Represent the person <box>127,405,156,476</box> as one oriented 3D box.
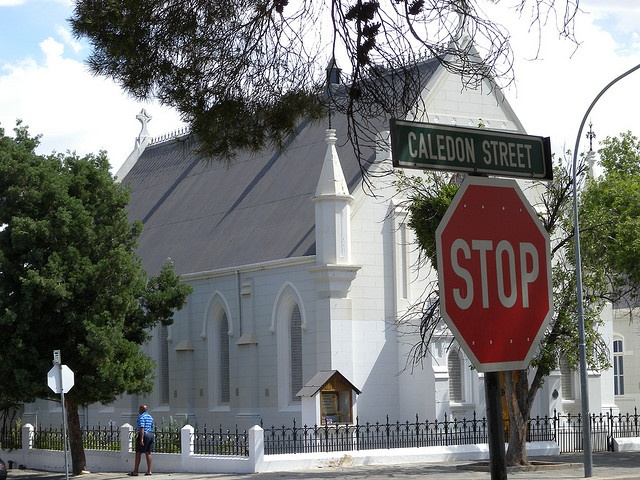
[{"bbox_3d":[-6.122,6.939,38.448,0.752,2.492,1.559,0,-14,-10],"label":"person"}]
